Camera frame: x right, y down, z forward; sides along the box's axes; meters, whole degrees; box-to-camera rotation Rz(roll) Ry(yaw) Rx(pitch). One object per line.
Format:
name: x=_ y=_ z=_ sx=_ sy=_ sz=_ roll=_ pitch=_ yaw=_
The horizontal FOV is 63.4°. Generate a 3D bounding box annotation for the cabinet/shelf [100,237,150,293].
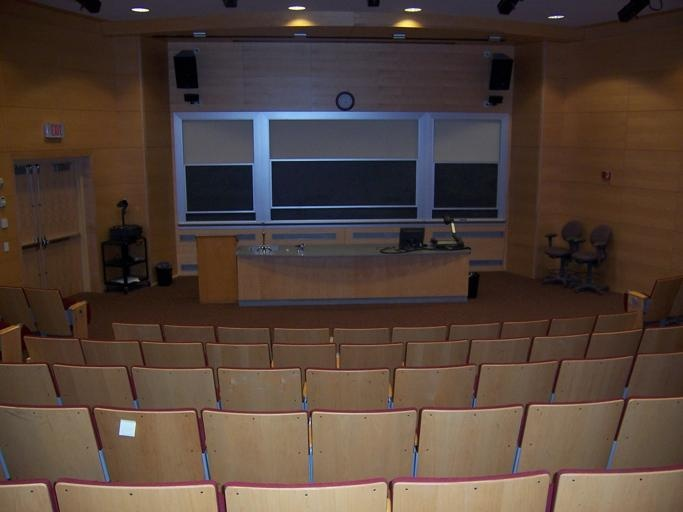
cabinet/shelf: x=-4.108 y=0.159 z=10.518 sx=0.615 sy=0.998 sz=0.760 roll=3 pitch=14 yaw=13

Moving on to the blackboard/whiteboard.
blackboard/whiteboard: x=0.136 y=-1.392 z=11.715 sx=6.477 sy=1.262 sz=0.239 roll=-1 pitch=14 yaw=-4

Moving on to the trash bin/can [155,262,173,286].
trash bin/can: x=-3.460 y=0.349 z=10.924 sx=0.448 sy=0.484 sz=0.392 roll=-1 pitch=5 yaw=-8

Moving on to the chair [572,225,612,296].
chair: x=4.772 y=0.019 z=10.467 sx=0.620 sy=1.245 sz=0.830 roll=6 pitch=15 yaw=25

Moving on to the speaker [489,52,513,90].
speaker: x=3.279 y=-3.777 z=11.303 sx=0.420 sy=0.701 sz=0.296 roll=2 pitch=14 yaw=11

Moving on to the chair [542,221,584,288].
chair: x=4.394 y=-0.086 z=10.841 sx=0.773 sy=1.254 sz=0.750 roll=-2 pitch=4 yaw=-21

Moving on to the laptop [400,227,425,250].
laptop: x=1.252 y=-0.298 z=9.763 sx=0.361 sy=0.345 sz=0.131 roll=0 pitch=15 yaw=-4
